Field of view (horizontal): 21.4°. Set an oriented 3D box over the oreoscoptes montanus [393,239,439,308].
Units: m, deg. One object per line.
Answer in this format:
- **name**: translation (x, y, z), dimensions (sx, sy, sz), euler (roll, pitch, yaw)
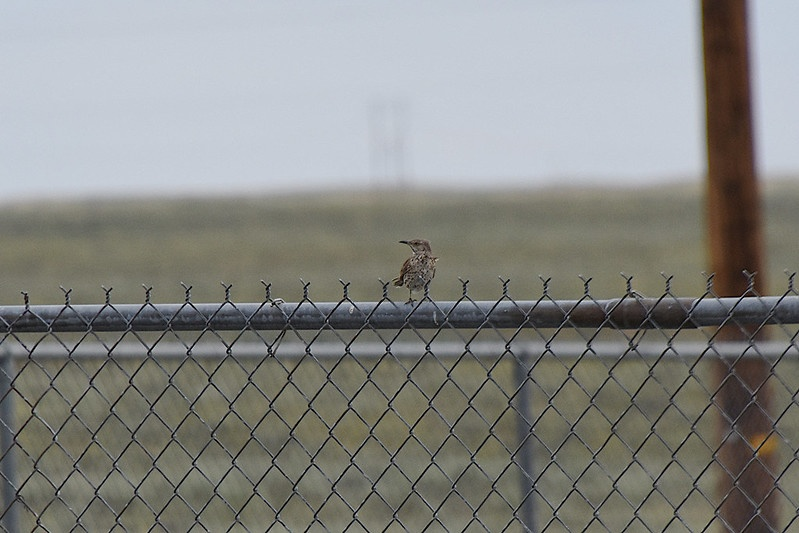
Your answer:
- **oreoscoptes montanus**: translation (0.112, 0.006, 18.289), dimensions (0.316, 0.400, 0.507), euler (8, -100, -43)
